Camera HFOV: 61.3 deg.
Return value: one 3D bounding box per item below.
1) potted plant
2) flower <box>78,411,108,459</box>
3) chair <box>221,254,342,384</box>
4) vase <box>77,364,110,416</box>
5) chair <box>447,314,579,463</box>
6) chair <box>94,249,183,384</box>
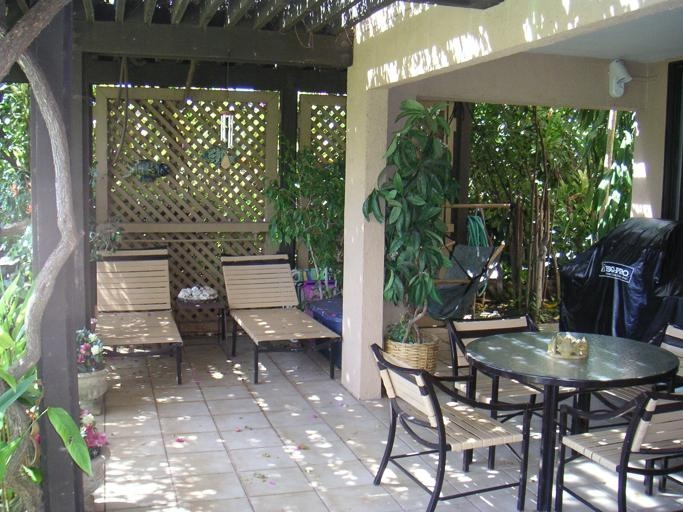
[{"bbox_3d":[0.632,-0.129,4.980,0.652,2.312,0.882,4,9,22],"label":"potted plant"},{"bbox_3d":[-1.363,0.997,3.204,0.125,0.217,0.391,-3,9,-24],"label":"flower"},{"bbox_3d":[-0.696,0.578,6.016,0.788,1.023,1.697,-2,7,-22],"label":"chair"},{"bbox_3d":[-1.952,1.065,4.608,0.171,0.356,0.373,1,8,6],"label":"vase"},{"bbox_3d":[1.012,0.735,3.969,0.905,0.939,0.720,-4,8,-23],"label":"chair"},{"bbox_3d":[-2.057,0.566,5.745,0.814,1.067,1.624,-2,9,-20],"label":"chair"}]
